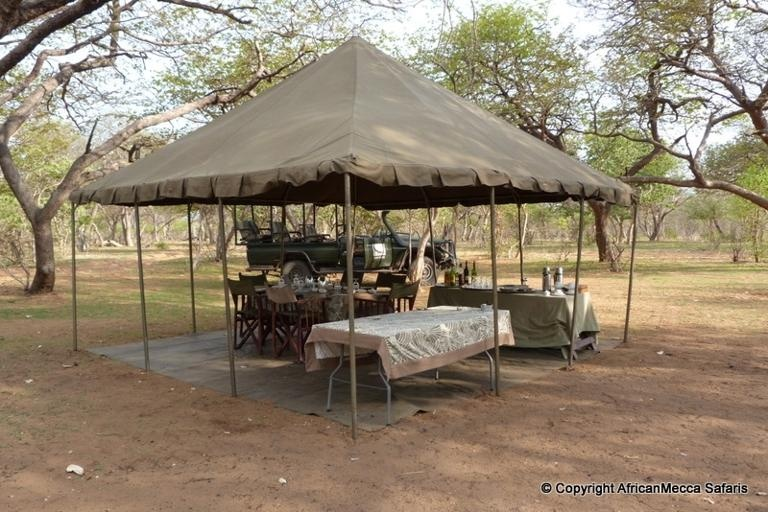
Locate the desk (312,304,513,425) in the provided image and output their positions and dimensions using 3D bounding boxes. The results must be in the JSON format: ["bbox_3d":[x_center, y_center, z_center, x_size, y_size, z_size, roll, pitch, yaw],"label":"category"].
[{"bbox_3d":[0.382,1.615,9.093,3.056,1.563,1.362,-1,2,-34],"label":"desk"}]

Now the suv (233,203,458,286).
[{"bbox_3d":[-1.457,-0.143,21.052,7.705,2.291,2.595,0,1,-15],"label":"suv"}]

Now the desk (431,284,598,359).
[{"bbox_3d":[2.302,1.184,11.319,2.681,0.705,1.233,7,6,-23],"label":"desk"}]
